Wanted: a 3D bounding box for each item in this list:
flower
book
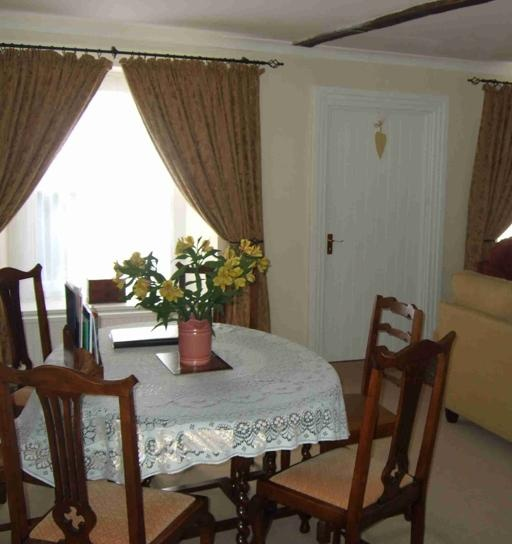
[{"bbox_3d":[-0.284,0.085,2.438,0.653,0.510,0.670,7,12,38],"label":"flower"},{"bbox_3d":[-0.639,0.194,1.788,0.113,0.255,0.260,-3,17,-16],"label":"book"}]
